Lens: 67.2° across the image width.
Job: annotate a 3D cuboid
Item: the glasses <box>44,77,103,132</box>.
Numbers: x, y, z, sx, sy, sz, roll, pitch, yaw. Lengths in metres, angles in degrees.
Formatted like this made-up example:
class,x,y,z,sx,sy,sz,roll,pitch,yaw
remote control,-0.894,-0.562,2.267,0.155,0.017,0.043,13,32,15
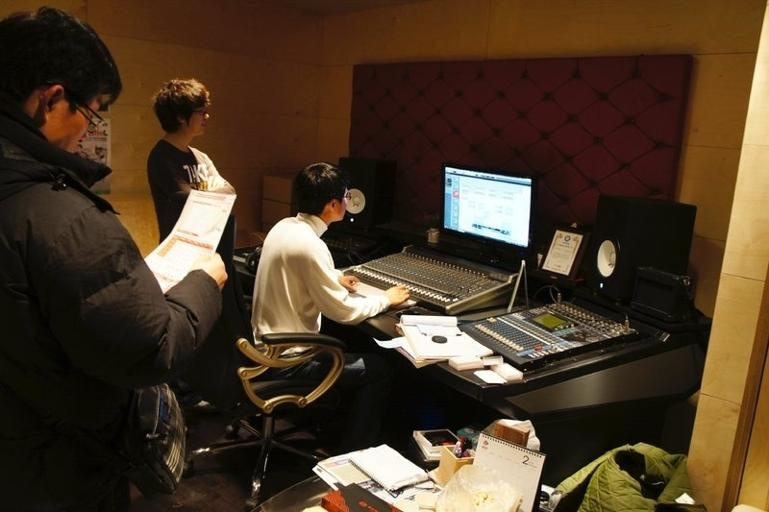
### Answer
class,x,y,z,sx,sy,sz,roll,pitch,yaw
glasses,-0.770,-0.375,1.421,0.031,0.105,0.101,-39,24,-23

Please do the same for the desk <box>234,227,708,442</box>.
class,x,y,z,sx,sy,sz,roll,pitch,yaw
desk,0.389,0.414,3.036,1.264,0.652,1.877,-4,16,-24

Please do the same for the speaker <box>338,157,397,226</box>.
class,x,y,z,sx,sy,sz,roll,pitch,yaw
speaker,-0.110,-0.386,3.511,0.369,0.523,0.293,11,12,39

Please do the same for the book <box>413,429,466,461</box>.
class,x,y,z,sx,sy,sz,roll,pitch,yaw
book,0.214,0.743,2.264,0.184,0.053,0.180,-8,19,-23

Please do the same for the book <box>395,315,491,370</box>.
class,x,y,z,sx,sy,sz,roll,pitch,yaw
book,0.238,0.332,2.362,0.307,0.088,0.392,-2,13,-14

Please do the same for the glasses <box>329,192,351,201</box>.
class,x,y,z,sx,sy,sz,roll,pitch,yaw
glasses,-0.206,-0.279,2.736,0.099,0.029,0.094,-11,9,4

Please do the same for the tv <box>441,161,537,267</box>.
class,x,y,z,sx,sy,sz,roll,pitch,yaw
tv,0.557,-0.216,3.028,0.140,0.364,0.518,-9,17,-34
